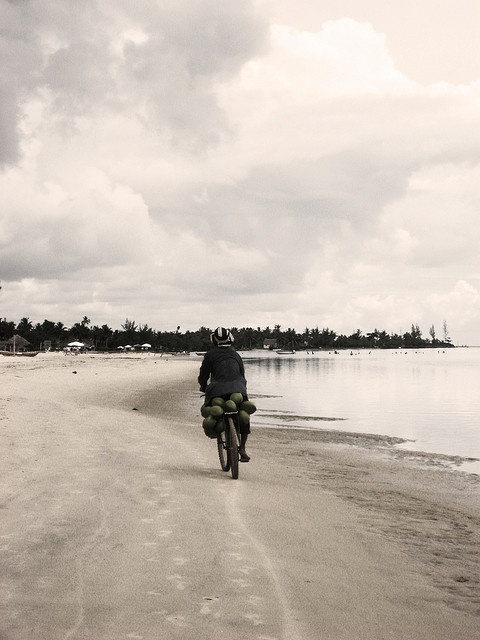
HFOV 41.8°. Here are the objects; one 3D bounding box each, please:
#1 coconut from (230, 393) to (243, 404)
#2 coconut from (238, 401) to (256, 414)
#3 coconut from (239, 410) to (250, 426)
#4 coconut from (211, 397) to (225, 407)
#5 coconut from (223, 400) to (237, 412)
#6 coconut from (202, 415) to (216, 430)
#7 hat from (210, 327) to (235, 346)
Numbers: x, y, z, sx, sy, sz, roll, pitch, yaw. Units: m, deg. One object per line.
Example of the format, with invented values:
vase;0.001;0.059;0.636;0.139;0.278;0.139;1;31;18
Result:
coconut;-0.042;1.250;9.857;0.167;0.139;0.132;2;8;-10
coconut;0.130;1.412;9.943;0.225;0.187;0.179;3;-1;-3
coconut;0.067;1.570;9.901;0.139;0.217;0.093;2;-4;-12
coconut;-0.346;1.309;9.906;0.126;0.171;0.142;-1;-10;-2
coconut;-0.145;1.360;9.864;0.163;0.205;0.159;-14;13;-36
coconut;-0.435;1.633;10.036;0.188;0.205;0.363;-10;-3;-1
hat;-0.294;0.329;10.413;0.286;0.406;0.392;2;-10;-1
